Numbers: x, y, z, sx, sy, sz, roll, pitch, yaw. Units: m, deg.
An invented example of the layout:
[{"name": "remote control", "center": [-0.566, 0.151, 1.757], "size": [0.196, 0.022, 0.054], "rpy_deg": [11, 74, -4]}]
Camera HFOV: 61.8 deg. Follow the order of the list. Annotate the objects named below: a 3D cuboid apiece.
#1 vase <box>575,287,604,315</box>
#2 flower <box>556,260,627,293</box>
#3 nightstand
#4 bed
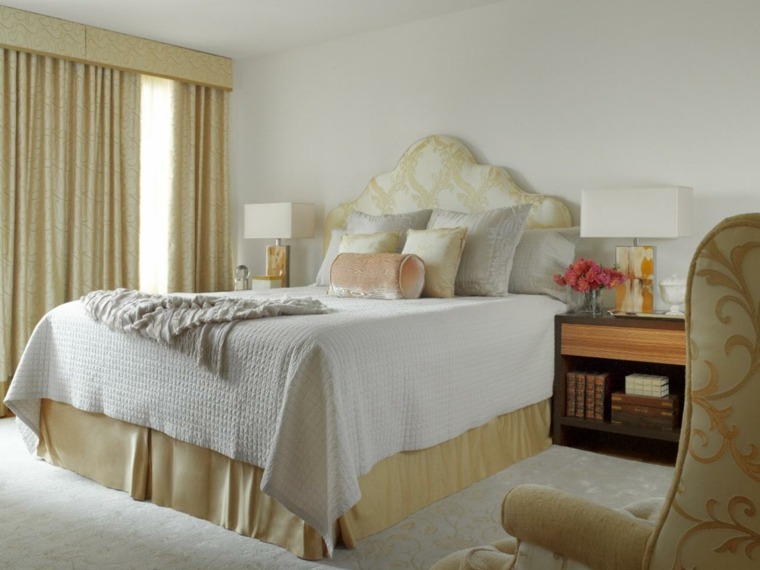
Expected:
[{"name": "vase", "center": [1.198, 0.089, 3.707], "size": [0.150, 0.172, 0.169], "rpy_deg": [5, -7, -39]}, {"name": "flower", "center": [1.195, -0.013, 3.620], "size": [0.249, 0.176, 0.219], "rpy_deg": [6, -6, -40]}, {"name": "nightstand", "center": [1.316, 0.504, 3.484], "size": [0.731, 0.695, 0.398], "rpy_deg": [1, 3, 29]}, {"name": "bed", "center": [-0.165, 0.273, 3.134], "size": [1.715, 1.106, 1.475], "rpy_deg": [1, -2, -44]}]
